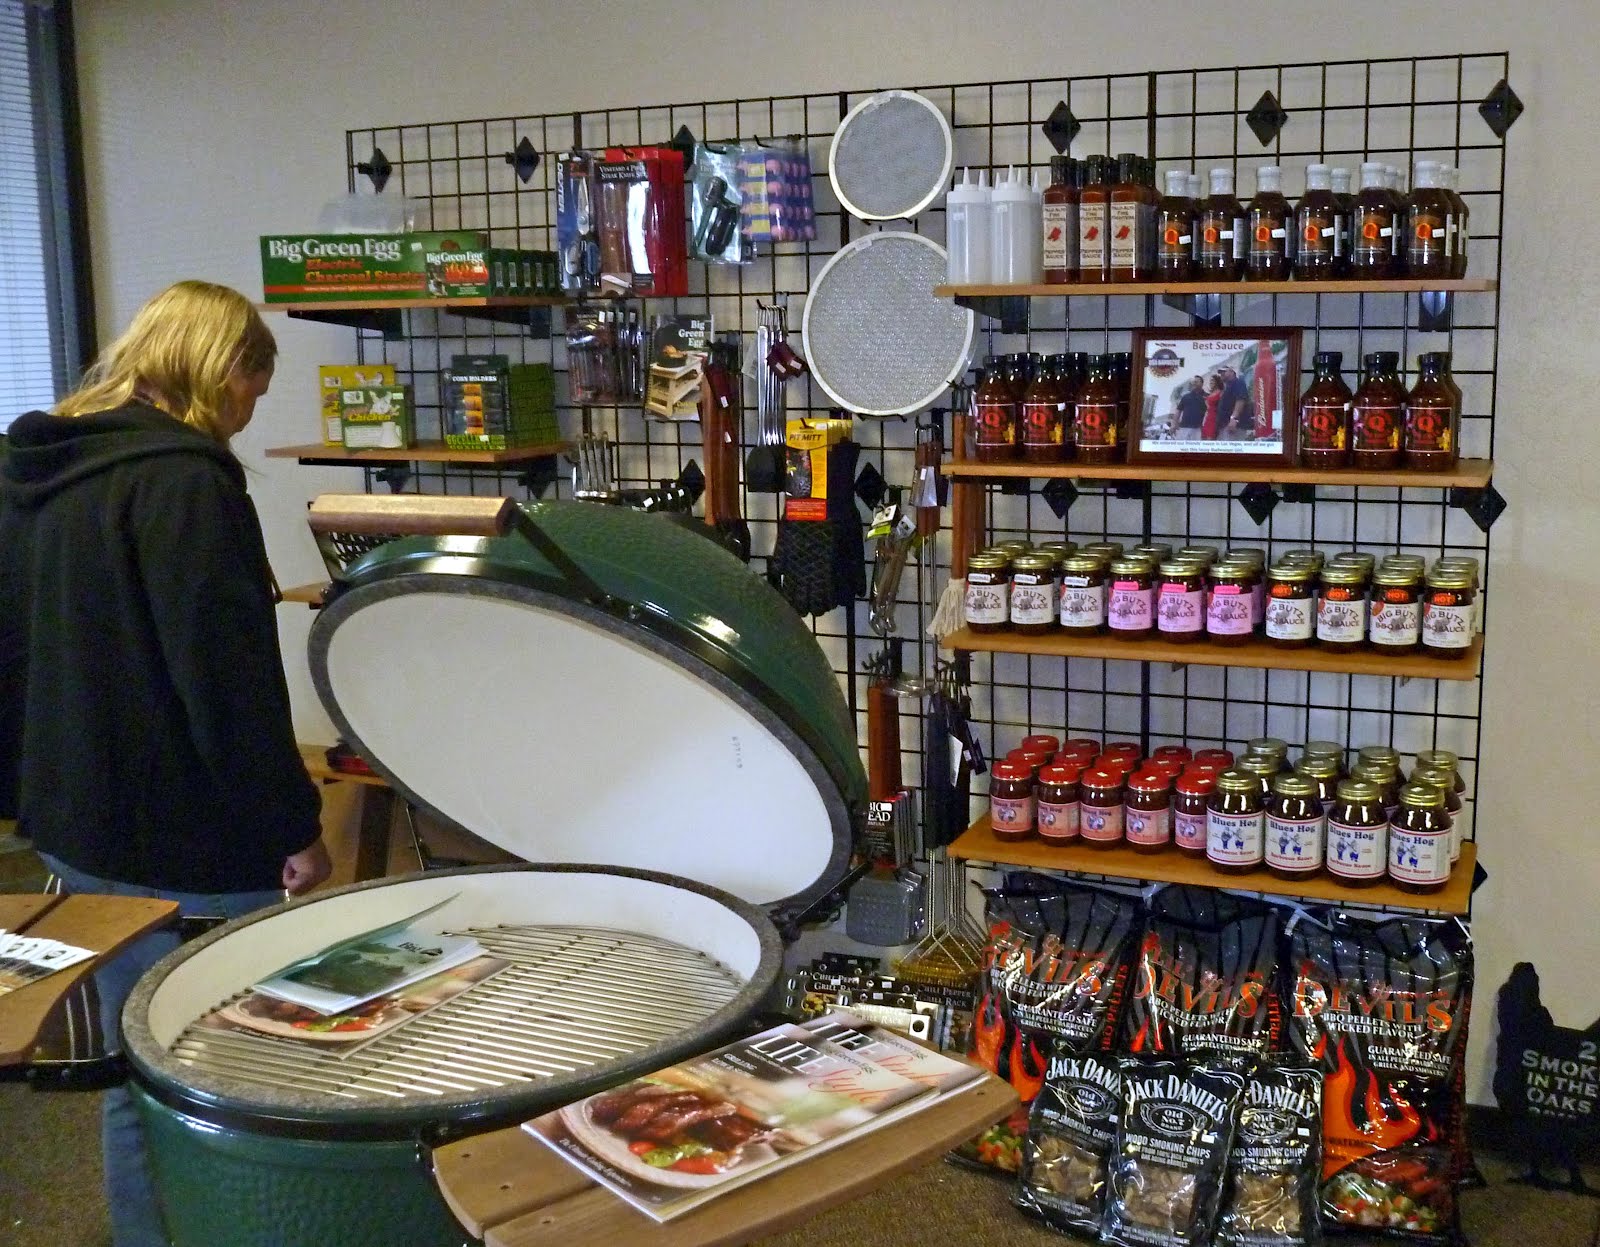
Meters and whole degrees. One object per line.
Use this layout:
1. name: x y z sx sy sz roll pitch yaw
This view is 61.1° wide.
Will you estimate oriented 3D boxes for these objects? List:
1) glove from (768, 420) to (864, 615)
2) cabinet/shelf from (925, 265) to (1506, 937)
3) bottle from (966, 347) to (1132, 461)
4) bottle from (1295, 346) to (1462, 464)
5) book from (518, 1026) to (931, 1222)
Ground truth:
1. glove: 0.044 -0.256 3.262 0.232 0.460 0.159 2 10 -2
2. cabinet/shelf: 0.922 -0.067 2.898 1.293 1.648 0.460 2 7 25
3. bottle: 0.540 -0.461 2.914 0.237 0.166 0.083 1 3 11
4. bottle: 1.152 -0.426 2.698 0.242 0.211 0.087 2 3 18
5. book: -0.044 0.478 1.353 0.422 0.056 0.203 -4 14 -31
